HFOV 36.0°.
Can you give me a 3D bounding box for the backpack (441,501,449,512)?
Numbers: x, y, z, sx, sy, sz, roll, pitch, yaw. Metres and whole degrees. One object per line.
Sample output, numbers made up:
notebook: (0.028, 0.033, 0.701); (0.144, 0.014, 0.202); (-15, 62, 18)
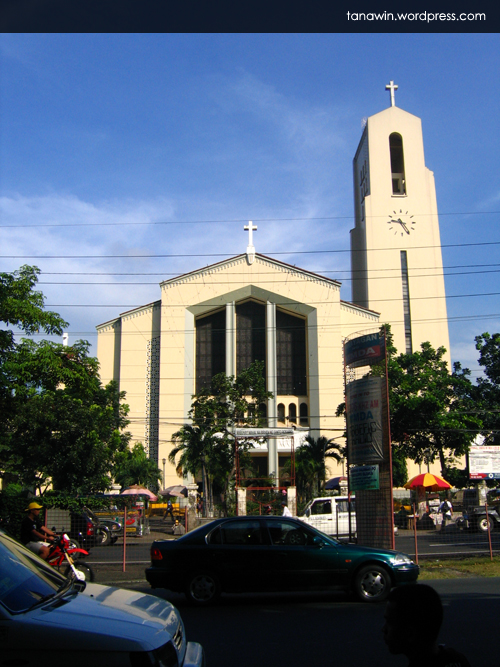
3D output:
backpack: (8.463, 7.477, 33.291); (0.353, 0.553, 0.420); (2, -6, 16)
